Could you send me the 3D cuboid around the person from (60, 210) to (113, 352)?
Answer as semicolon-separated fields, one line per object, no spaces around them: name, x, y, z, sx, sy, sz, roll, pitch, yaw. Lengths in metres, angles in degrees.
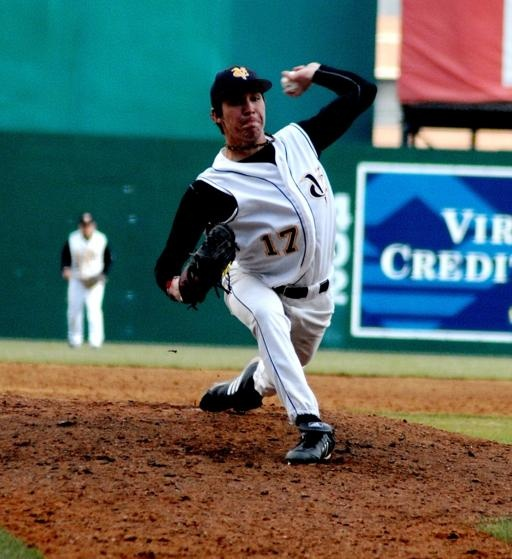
person;-1.623;0.067;9.368;0.466;1.354;0.384;2;14;-13

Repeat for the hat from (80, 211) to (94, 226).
hat;-1.599;-0.577;9.359;0.166;0.137;0.226;-1;7;-7

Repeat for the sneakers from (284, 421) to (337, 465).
sneakers;0.271;0.775;4.652;0.158;0.161;0.445;2;4;23

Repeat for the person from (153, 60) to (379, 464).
person;0.059;-0.134;4.800;0.948;1.847;0.900;8;14;12

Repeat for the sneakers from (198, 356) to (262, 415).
sneakers;-0.107;0.595;5.484;0.173;0.193;0.492;2;-7;-36

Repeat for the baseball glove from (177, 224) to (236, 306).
baseball glove;-0.239;-0.068;4.653;0.246;0.400;0.144;32;0;-38
